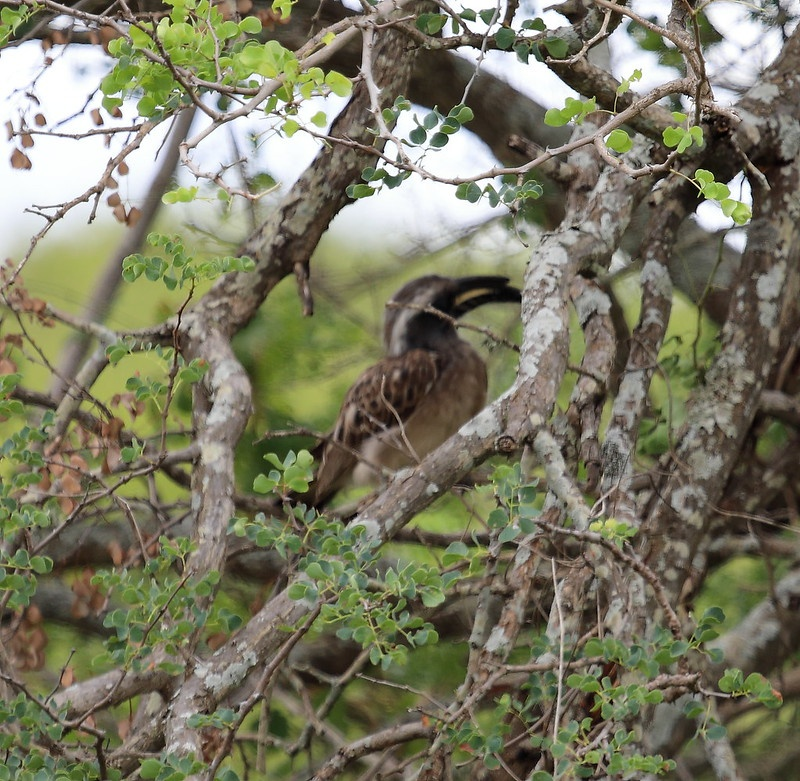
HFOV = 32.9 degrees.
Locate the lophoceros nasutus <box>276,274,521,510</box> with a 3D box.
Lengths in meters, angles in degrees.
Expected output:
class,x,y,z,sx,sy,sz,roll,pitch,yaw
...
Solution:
class,x,y,z,sx,sy,sz,roll,pitch,yaw
lophoceros nasutus,0.055,0.020,5.237,0.637,1.112,0.850,19,-38,-11
